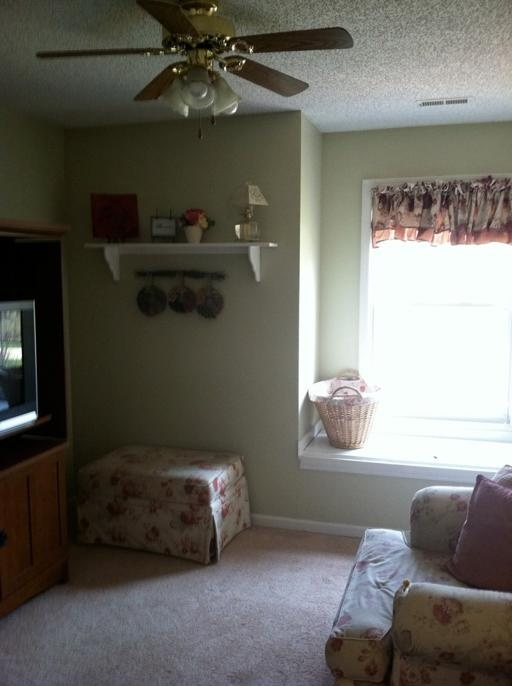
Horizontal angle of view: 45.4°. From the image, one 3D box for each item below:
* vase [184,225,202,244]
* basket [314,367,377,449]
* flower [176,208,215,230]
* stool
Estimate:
[{"bbox_3d":[-0.338,-0.584,3.321,0.100,0.094,0.098,-1,-4,7],"label":"vase"},{"bbox_3d":[0.465,0.393,3.494,0.413,0.334,0.360,-1,-1,6],"label":"basket"},{"bbox_3d":[-0.328,-0.661,3.334,0.144,0.137,0.087,13,-23,-13],"label":"flower"},{"bbox_3d":[-0.505,0.834,3.327,0.826,0.433,0.509,2,7,20],"label":"stool"}]
